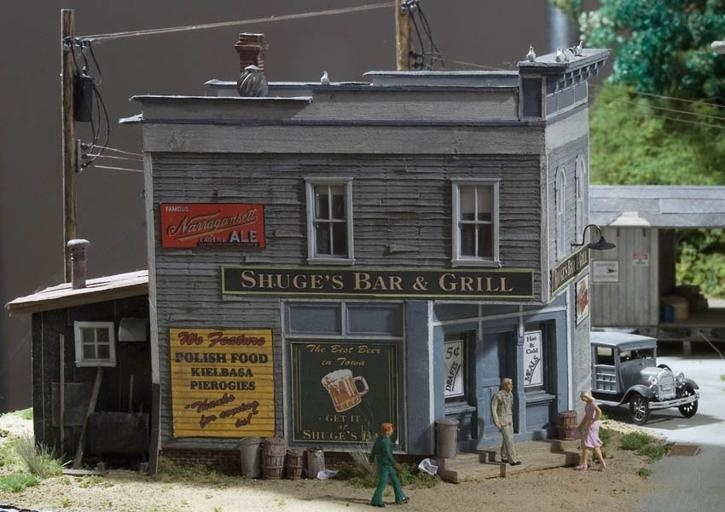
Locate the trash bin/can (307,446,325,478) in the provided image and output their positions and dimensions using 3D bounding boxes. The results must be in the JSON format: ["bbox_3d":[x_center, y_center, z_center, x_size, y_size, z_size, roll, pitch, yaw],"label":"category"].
[{"bbox_3d":[-1.533,6.716,62.862,0.795,1.157,0.762,2,-7,-11],"label":"trash bin/can"}]
